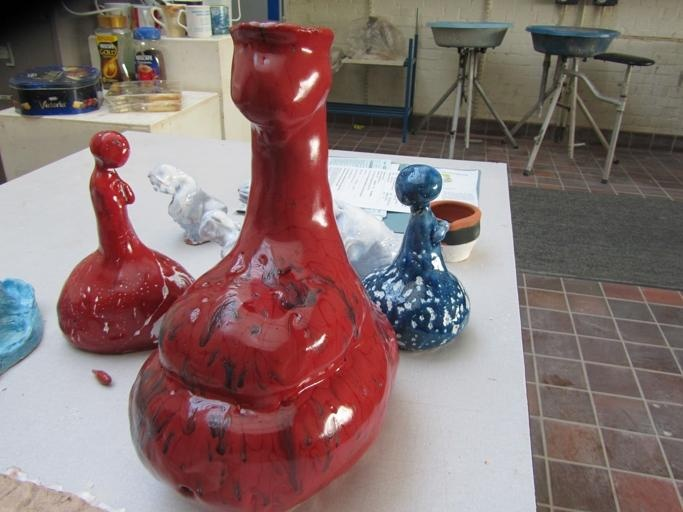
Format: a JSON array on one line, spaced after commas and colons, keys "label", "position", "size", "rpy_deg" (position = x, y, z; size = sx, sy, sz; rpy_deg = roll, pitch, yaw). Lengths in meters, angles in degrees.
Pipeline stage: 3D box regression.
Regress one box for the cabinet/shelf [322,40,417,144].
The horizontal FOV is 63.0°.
[{"label": "cabinet/shelf", "position": [0.256, -1.329, 4.289], "size": [0.615, 0.736, 0.647], "rpy_deg": [6, 30, 6]}]
